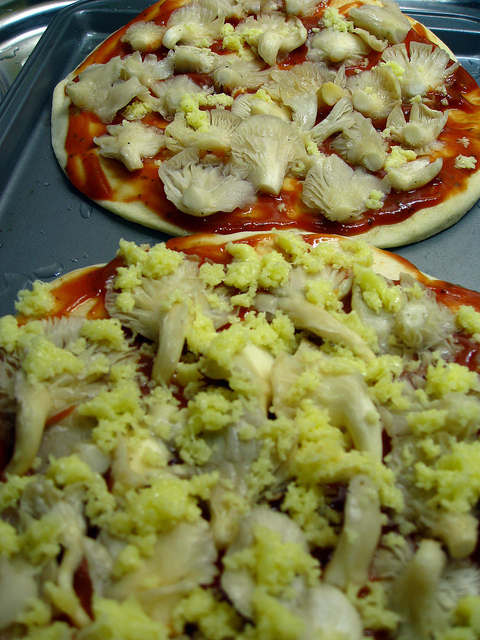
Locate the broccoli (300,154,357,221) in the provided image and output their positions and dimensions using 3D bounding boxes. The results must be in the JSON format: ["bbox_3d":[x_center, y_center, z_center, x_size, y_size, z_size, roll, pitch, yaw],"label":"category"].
[{"bbox_3d":[0.258,-0.359,1.613,0.188,0.068,0.137,5,81,-24],"label":"broccoli"}]

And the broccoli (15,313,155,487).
[{"bbox_3d":[-0.341,0.132,1.250,0.377,0.156,0.233,-31,14,4],"label":"broccoli"}]

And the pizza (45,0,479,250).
[{"bbox_3d":[0.082,-0.610,1.825,1.283,0.422,0.959,20,43,19],"label":"pizza"}]

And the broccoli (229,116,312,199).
[{"bbox_3d":[0.085,-0.437,1.666,0.264,0.241,0.087,-7,69,-11],"label":"broccoli"}]
